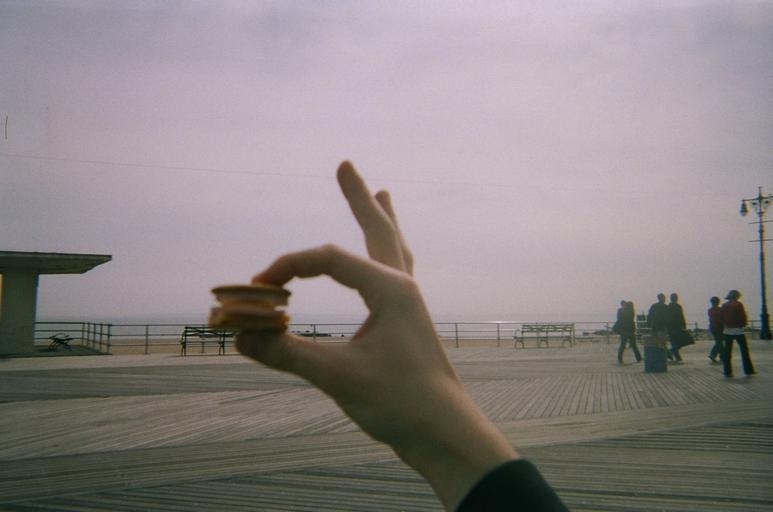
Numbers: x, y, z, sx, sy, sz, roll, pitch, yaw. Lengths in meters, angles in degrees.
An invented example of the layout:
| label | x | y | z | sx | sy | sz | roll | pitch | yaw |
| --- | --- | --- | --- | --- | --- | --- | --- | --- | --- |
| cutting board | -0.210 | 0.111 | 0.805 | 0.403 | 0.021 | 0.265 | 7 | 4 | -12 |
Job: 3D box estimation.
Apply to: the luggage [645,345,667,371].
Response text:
| label | x | y | z | sx | sy | sz | roll | pitch | yaw |
| --- | --- | --- | --- | --- | --- | --- | --- | --- | --- |
| luggage | 6.014 | 2.318 | 15.388 | 0.551 | 0.615 | 0.543 | 1 | -3 | -21 |

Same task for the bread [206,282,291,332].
| label | x | y | z | sx | sy | sz | roll | pitch | yaw |
| --- | --- | --- | --- | --- | --- | --- | --- | --- | --- |
| bread | -1.032 | 0.388 | 5.035 | 0.512 | 0.271 | 0.520 | 3 | -1 | 8 |
